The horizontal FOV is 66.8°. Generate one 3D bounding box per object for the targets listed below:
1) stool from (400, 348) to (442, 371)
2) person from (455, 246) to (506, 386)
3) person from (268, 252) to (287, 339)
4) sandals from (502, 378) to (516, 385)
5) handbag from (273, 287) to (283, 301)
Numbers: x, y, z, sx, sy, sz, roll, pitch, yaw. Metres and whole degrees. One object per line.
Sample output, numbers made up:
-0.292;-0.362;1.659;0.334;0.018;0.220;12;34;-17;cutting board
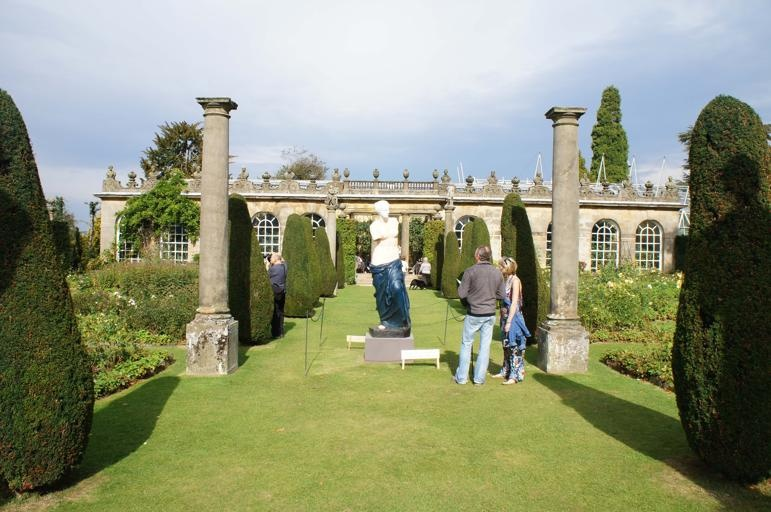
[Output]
0.579;1.617;9.448;0.628;0.373;0.777;1;10;4;stool
1.390;0.891;8.531;0.680;1.990;0.712;2;10;11;person
-2.122;0.775;11.519;0.343;1.566;0.774;-2;10;-12;person
1.832;1.848;8.568;0.195;0.091;0.072;4;-9;-4;sandals
-2.076;0.740;11.429;0.219;0.208;0.185;-4;3;-5;handbag
